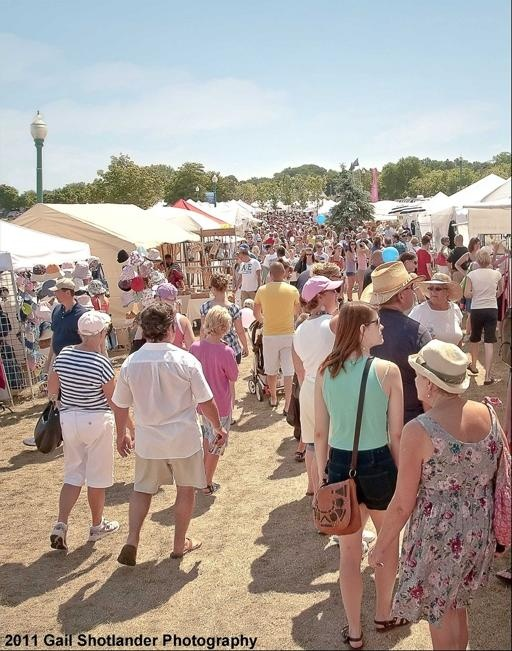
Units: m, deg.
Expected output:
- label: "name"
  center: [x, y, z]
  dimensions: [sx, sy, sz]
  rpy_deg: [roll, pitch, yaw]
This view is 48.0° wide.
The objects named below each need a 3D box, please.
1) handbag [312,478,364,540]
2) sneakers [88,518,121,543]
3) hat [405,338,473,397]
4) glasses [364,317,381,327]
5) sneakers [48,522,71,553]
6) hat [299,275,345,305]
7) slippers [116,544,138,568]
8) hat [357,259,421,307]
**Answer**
- label: "handbag"
  center: [0.379, 0.868, 2.752]
  dimensions: [0.216, 0.267, 0.117]
  rpy_deg: [-3, 7, 13]
- label: "sneakers"
  center: [-1.226, 1.642, 4.690]
  dimensions: [0.107, 0.122, 0.263]
  rpy_deg: [10, 18, 38]
- label: "hat"
  center: [0.784, 0.194, 2.481]
  dimensions: [0.244, 0.237, 0.284]
  rpy_deg: [-3, 6, 19]
- label: "glasses"
  center: [0.590, -0.018, 2.936]
  dimensions: [0.057, 0.018, 0.058]
  rpy_deg: [-26, 1, 10]
- label: "sneakers"
  center: [-1.442, 1.546, 4.225]
  dimensions: [0.106, 0.256, 0.117]
  rpy_deg: [1, 48, -3]
- label: "hat"
  center: [0.495, -0.301, 4.378]
  dimensions: [0.279, 0.150, 0.180]
  rpy_deg: [-22, 16, -4]
- label: "slippers"
  center: [-0.868, 1.539, 3.865]
  dimensions: [0.100, 0.183, 0.076]
  rpy_deg: [1, 9, -4]
- label: "hat"
  center: [0.941, -0.334, 3.927]
  dimensions: [0.393, 0.180, 0.463]
  rpy_deg: [-31, 5, 40]
